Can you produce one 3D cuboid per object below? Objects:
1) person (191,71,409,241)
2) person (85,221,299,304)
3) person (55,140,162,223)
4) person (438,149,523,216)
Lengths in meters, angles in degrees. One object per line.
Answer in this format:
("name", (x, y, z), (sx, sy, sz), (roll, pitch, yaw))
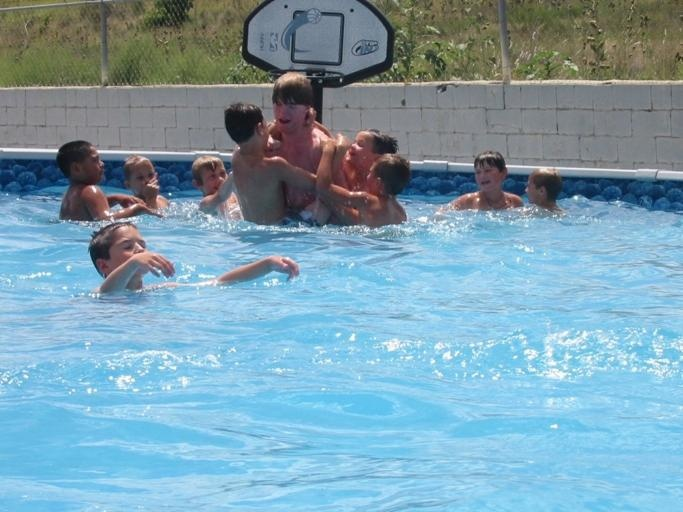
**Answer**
("person", (-0.333, -0.742, 6.994), (1.421, 1.042, 0.675), (-6, 23, -3))
("person", (-0.876, 0.038, 5.314), (1.196, 0.446, 0.747), (0, 1, 1))
("person", (-1.781, -0.444, 7.369), (0.705, 0.860, 0.637), (8, 13, 23))
("person", (1.239, -0.554, 7.741), (0.926, 0.542, 0.347), (1, -2, 27))
